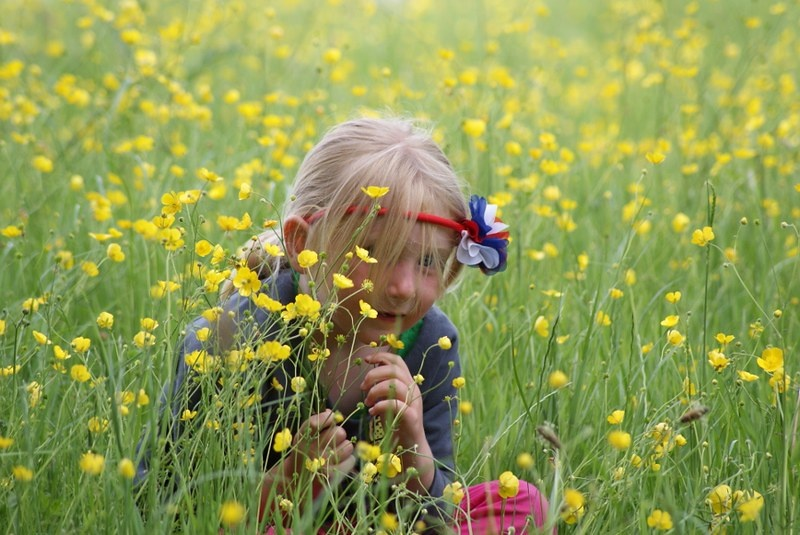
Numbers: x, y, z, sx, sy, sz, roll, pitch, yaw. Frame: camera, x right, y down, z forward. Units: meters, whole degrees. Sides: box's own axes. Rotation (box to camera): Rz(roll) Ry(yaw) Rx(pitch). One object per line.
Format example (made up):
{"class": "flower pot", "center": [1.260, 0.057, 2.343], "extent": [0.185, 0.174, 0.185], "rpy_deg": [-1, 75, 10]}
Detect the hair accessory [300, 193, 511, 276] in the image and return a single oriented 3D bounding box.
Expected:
{"class": "hair accessory", "center": [0.125, -0.104, 3.109], "extent": [0.452, 0.197, 0.347], "rpy_deg": [8, 3, 5]}

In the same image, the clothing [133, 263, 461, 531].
{"class": "clothing", "center": [-0.329, 0.424, 2.904], "extent": [0.642, 0.613, 0.382], "rpy_deg": [22, 1, -16]}
